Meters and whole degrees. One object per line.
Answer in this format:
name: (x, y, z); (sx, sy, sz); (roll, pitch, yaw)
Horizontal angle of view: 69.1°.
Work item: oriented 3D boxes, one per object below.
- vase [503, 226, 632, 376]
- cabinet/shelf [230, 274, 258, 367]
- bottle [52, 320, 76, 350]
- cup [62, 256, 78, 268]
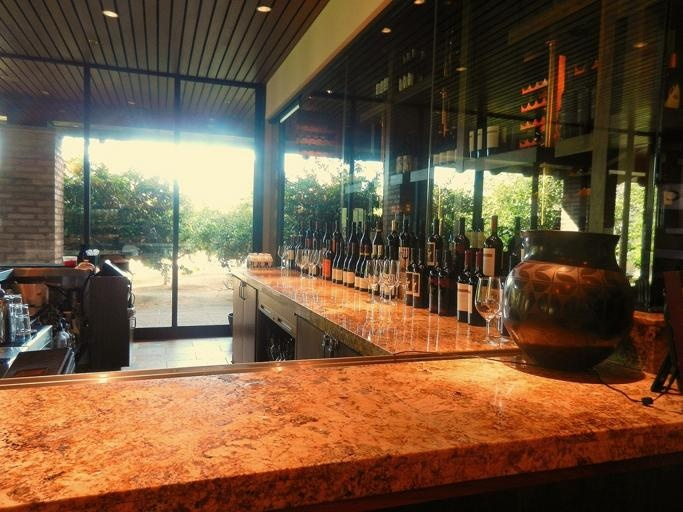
vase: (0.716, 0.144, 1.582); (0.357, 0.431, 0.360); (4, 0, -37)
cabinet/shelf: (-0.840, 0.549, 4.296); (0.272, 0.724, 0.799); (2, -9, -20)
bottle: (-1.870, 0.529, 3.328); (0.097, 0.180, 0.176); (-4, 4, -25)
cup: (-2.152, 0.045, 3.932); (0.074, 0.053, 0.113); (0, 7, -14)
